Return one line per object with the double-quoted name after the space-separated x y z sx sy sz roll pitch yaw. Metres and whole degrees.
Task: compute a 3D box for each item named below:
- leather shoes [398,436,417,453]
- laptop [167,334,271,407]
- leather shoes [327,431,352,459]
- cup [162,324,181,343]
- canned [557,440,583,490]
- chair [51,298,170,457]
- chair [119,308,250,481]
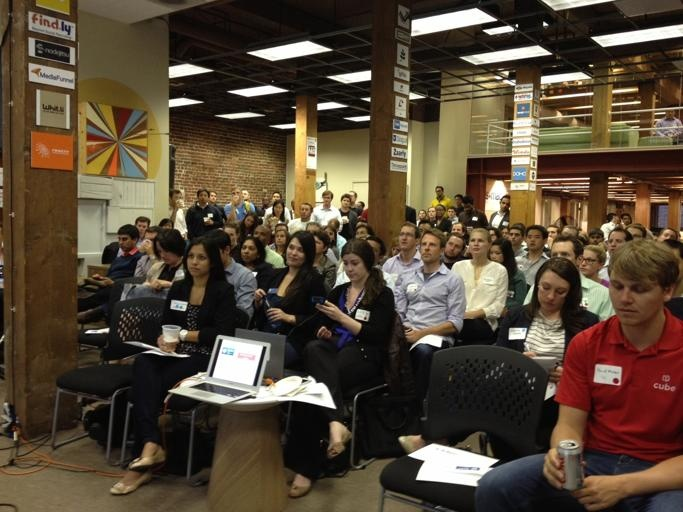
0.449 1.255 3.479 0.079 0.064 0.152 0 3 -12 "leather shoes"
-0.655 0.612 2.863 0.471 0.266 0.475 1 2 15 "laptop"
-0.011 1.137 3.202 0.060 0.104 0.229 -4 17 12 "leather shoes"
-1.113 0.502 3.412 0.105 0.081 0.105 3 -4 0 "cup"
0.827 0.750 1.864 0.109 0.171 0.067 1 5 -9 "canned"
-1.656 0.850 3.755 0.619 1.029 0.672 2 -1 36 "chair"
-1.131 0.638 3.547 0.565 1.443 0.773 14 16 31 "chair"
